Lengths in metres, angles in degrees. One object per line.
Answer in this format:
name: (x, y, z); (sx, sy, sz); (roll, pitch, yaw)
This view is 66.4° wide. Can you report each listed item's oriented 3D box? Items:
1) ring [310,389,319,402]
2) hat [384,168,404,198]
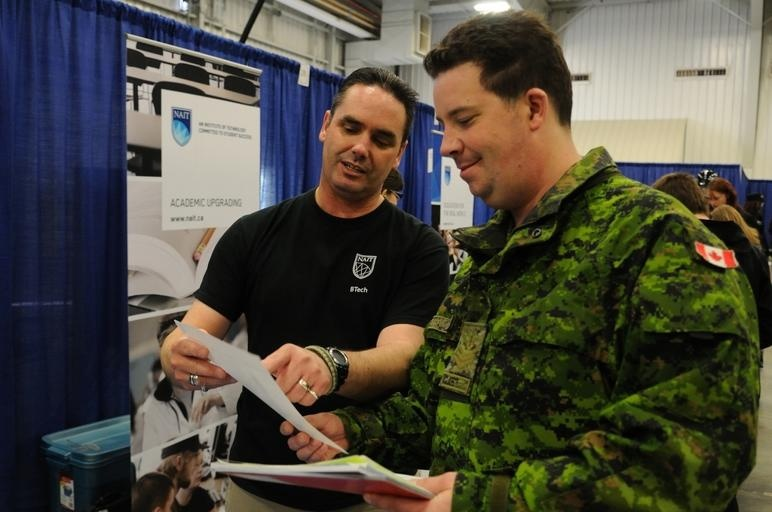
ring: (-0.219, 0.433, 1.834); (0.008, 0.031, 0.032); (-27, -22, 0)
hat: (0.029, -0.482, 3.837); (0.138, 0.114, 0.194); (25, 28, 16)
